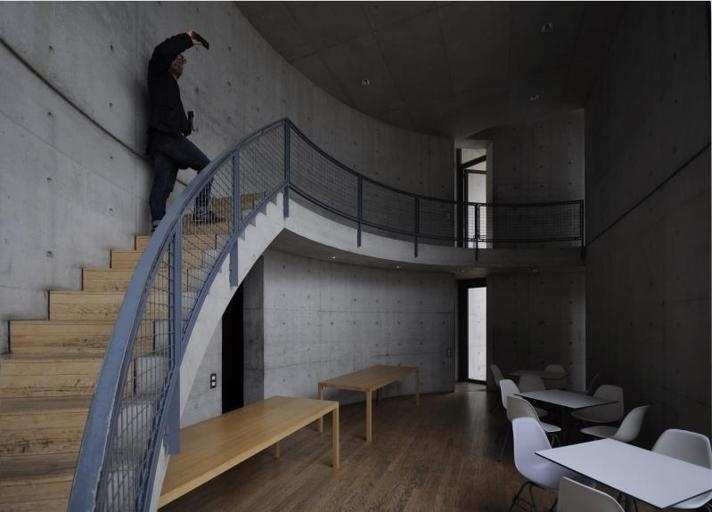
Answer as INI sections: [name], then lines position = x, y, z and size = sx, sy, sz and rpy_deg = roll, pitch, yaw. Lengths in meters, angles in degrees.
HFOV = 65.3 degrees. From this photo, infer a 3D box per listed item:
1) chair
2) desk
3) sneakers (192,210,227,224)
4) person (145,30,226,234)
[chair]
position = 2.653, 2.340, 7.515
size = 0.970, 1.521, 1.380
rpy_deg = 11, -8, -25
[desk]
position = -0.803, 2.302, 7.058
size = 1.074, 0.863, 4.735
rpy_deg = 1, 2, 26
[sneakers]
position = -1.622, -0.420, 6.086
size = 0.219, 0.161, 0.240
rpy_deg = 2, 3, 4
[person]
position = -1.968, -1.415, 6.308
size = 0.587, 2.224, 1.204
rpy_deg = -3, 4, -45
